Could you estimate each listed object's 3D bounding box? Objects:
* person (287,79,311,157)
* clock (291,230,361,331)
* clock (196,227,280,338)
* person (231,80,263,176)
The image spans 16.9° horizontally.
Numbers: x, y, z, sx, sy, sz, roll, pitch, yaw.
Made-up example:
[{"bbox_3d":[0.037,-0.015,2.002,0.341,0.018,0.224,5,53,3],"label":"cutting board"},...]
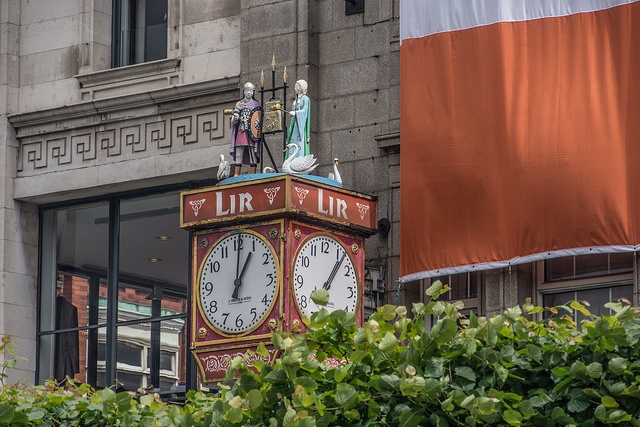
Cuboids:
[{"bbox_3d":[-0.436,-1.511,37.377,0.466,1.470,0.498,3,-4,-38],"label":"person"},{"bbox_3d":[0.067,1.199,36.534,0.213,1.959,2.164,-10,-15,40],"label":"clock"},{"bbox_3d":[-1.407,1.199,36.493,1.511,1.726,0.088,-7,-12,25],"label":"clock"},{"bbox_3d":[-1.306,-1.416,37.564,0.635,1.646,0.534,4,-7,13],"label":"person"}]
